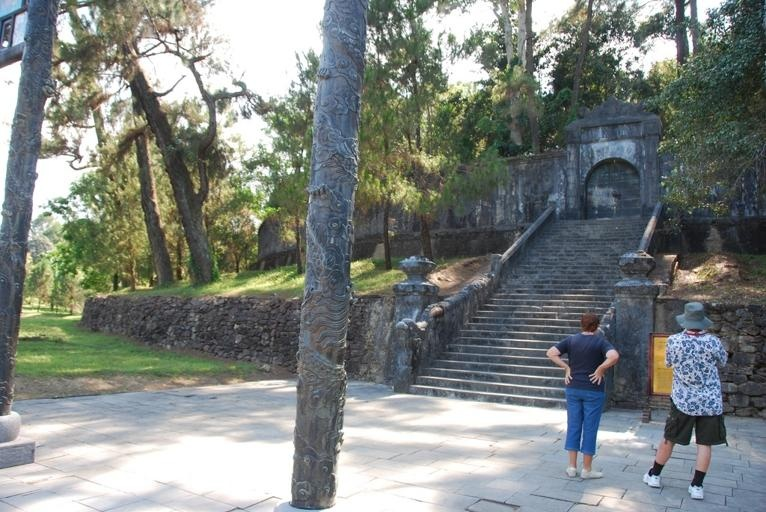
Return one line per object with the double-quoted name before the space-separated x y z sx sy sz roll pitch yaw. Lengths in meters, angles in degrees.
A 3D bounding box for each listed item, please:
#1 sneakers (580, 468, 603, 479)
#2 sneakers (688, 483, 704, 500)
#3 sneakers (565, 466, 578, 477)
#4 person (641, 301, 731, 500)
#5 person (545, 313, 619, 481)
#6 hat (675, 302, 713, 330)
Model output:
"sneakers" 3.517 3.664 10.534 0.367 0.147 0.148 1 -7 -4
"sneakers" 5.055 3.783 9.992 0.123 0.122 0.306 -1 -5 9
"sneakers" 3.195 3.635 10.524 0.096 0.105 0.249 0 -2 13
"person" 5.071 2.324 10.299 1.159 3.032 0.939 3 7 21
"person" 3.437 2.360 10.636 0.980 2.660 0.702 3 7 15
"hat" 5.187 1.017 10.446 0.487 0.289 0.534 -13 16 -17
